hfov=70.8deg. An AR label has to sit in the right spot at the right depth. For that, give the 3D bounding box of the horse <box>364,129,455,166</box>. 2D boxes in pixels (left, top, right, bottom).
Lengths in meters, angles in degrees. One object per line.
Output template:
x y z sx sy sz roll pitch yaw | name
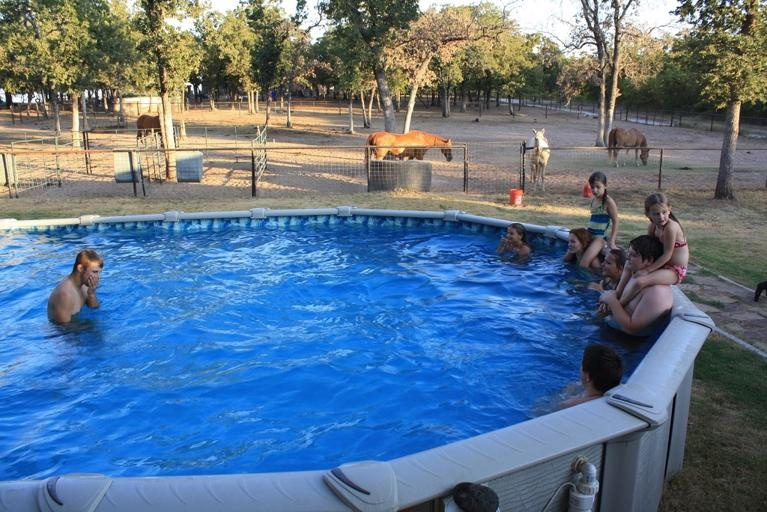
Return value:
0.915 -4.632 22.658 2.903 1.179 4.422 4 13 22 | horse

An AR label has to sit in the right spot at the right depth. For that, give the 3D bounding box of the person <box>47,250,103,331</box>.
-5.454 0.655 9.517 0.807 1.226 0.835 21 27 -14 | person
